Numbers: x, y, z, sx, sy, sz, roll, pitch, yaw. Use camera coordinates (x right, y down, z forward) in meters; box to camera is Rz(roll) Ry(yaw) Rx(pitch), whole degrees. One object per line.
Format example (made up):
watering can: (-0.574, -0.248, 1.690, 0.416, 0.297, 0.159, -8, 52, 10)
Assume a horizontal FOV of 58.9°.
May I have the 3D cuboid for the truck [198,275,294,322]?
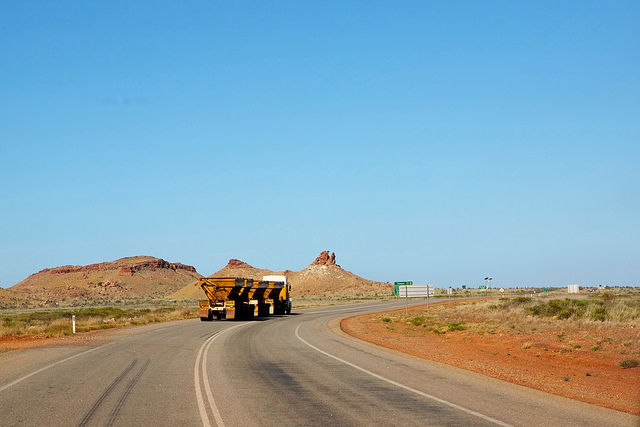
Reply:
truck: (-6.496, 8.102, 55.896, 3.810, 4.228, 15.064, -4, -8, 19)
